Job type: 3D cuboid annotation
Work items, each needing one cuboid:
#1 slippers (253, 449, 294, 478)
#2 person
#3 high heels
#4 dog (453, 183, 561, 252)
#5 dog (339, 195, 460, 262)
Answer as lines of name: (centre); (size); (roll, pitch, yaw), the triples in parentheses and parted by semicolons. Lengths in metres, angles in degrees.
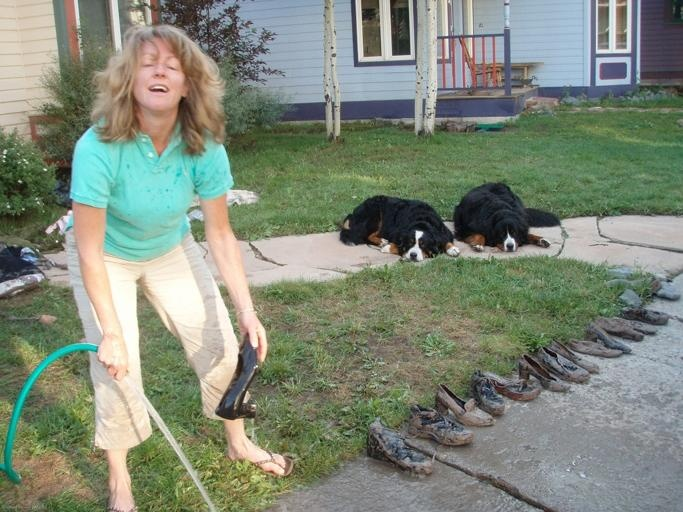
slippers: (-0.385, 1.169, 3.095); (0.248, 0.061, 0.114); (14, 38, 17)
person: (-0.888, 0.097, 2.776); (0.938, 2.420, 0.561); (-11, 18, -27)
high heels: (-0.478, 0.581, 2.738); (0.152, 0.425, 0.148); (22, -10, -30)
dog: (2.016, -0.526, 7.266); (0.918, 0.400, 1.134); (-7, 15, -8)
dog: (0.764, -0.382, 7.097); (1.426, 0.591, 1.061); (11, 21, 41)
